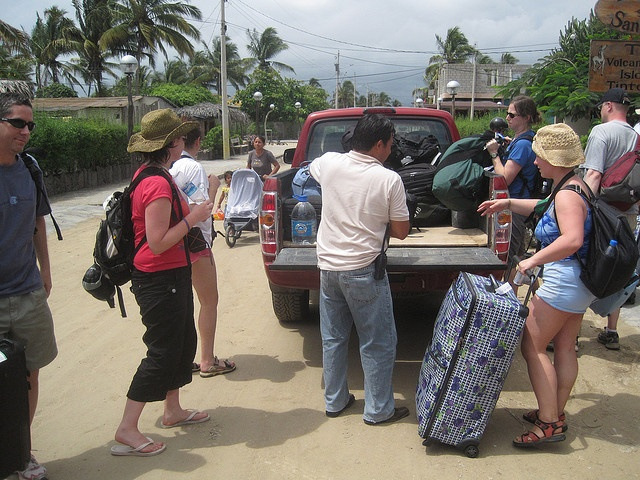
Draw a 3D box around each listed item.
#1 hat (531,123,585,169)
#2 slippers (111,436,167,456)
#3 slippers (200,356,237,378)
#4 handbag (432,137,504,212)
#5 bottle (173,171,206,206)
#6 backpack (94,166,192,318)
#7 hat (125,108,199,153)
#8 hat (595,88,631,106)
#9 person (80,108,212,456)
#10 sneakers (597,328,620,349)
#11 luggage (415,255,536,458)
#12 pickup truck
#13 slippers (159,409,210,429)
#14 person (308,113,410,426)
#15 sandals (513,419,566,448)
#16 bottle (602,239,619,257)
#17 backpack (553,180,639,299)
[{"bbox_3d":[1.791,-0.766,4.202,0.404,0.263,0.568,0,24,10],"label":"hat"},{"bbox_3d":[-1.352,1.513,4.100,0.290,0.081,0.166,0,7,-2],"label":"slippers"},{"bbox_3d":[-0.953,1.206,5.184,0.297,0.141,0.147,-6,7,-17],"label":"slippers"},{"bbox_3d":[1.386,-0.686,5.564,0.433,0.820,0.602,17,-14,-5],"label":"handbag"},{"bbox_3d":[-1.134,-0.442,4.577,0.194,0.086,0.353,-29,44,-22],"label":"bottle"},{"bbox_3d":[-1.440,0.006,4.249,0.750,1.125,0.482,-4,10,-28],"label":"backpack"},{"bbox_3d":[-1.186,-0.833,4.137,0.465,0.222,0.595,-4,18,15],"label":"hat"},{"bbox_3d":[2.987,-1.491,5.650,0.189,0.146,0.272,-7,25,-18],"label":"hat"},{"bbox_3d":[-1.222,0.302,4.132,0.881,2.463,0.715,-4,14,-11],"label":"person"},{"bbox_3d":[2.952,1.016,5.676,0.103,0.135,0.288,-2,8,4],"label":"sneakers"},{"bbox_3d":[1.090,0.921,4.031,0.746,1.268,0.366,2,14,10],"label":"luggage"},{"bbox_3d":[0.503,-0.495,6.167,1.618,1.613,3.280,0,18,2],"label":"pickup truck"},{"bbox_3d":[-1.090,1.432,4.421,0.364,0.102,0.145,-3,5,-16],"label":"slippers"},{"bbox_3d":[0.337,0.249,4.349,0.763,2.383,0.540,1,14,8],"label":"person"},{"bbox_3d":[1.614,1.439,4.159,0.393,0.190,0.174,-4,-2,3],"label":"sandals"},{"bbox_3d":[2.025,0.062,3.845,0.111,0.106,0.059,-11,17,-35],"label":"bottle"},{"bbox_3d":[1.985,-0.026,3.988,0.554,0.828,0.388,8,17,31],"label":"backpack"}]
